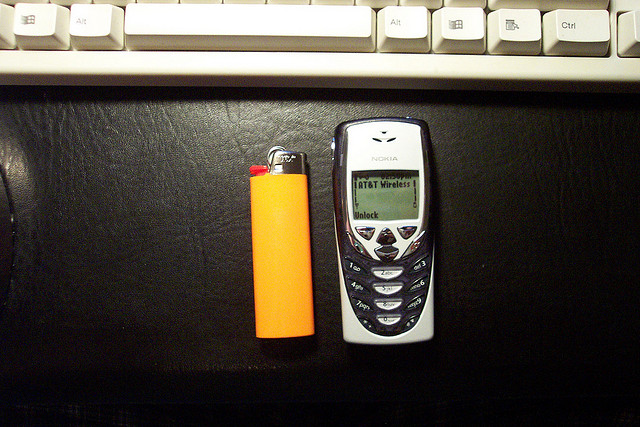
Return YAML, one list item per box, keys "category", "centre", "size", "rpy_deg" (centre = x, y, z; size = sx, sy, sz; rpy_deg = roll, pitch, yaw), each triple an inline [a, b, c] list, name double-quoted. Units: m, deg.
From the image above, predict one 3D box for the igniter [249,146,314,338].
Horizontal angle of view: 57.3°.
- category: "igniter"
  centre: [-0.056, 0.042, 0.835]
  size: [0.085, 0.267, 0.045]
  rpy_deg: [-2, 4, 7]
